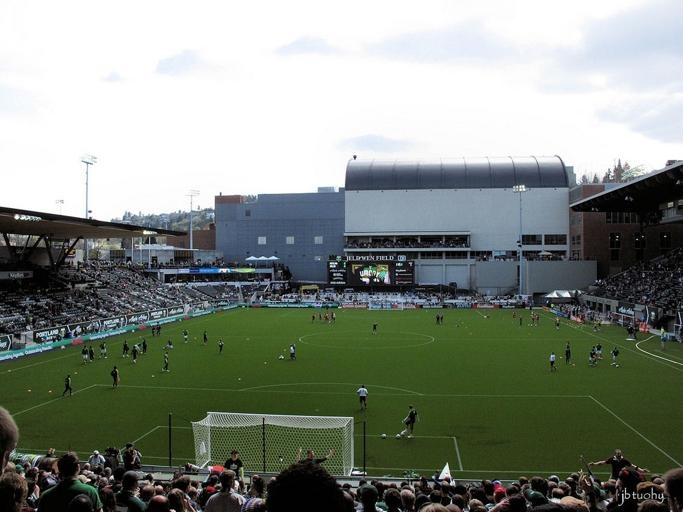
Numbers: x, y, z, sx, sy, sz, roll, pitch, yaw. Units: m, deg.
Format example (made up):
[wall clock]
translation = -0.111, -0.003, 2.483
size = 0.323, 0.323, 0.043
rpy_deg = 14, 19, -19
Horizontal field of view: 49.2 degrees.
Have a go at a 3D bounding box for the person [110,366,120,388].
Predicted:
[person]
translation = -17.317, 9.189, 57.472
size = 0.570, 1.603, 1.736
rpy_deg = 1, 0, -16

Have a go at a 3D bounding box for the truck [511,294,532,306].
[truck]
translation = 27.128, 6.526, 111.815
size = 2.006, 1.342, 1.889
rpy_deg = 1, 9, 9

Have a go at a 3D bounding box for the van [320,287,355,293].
[van]
translation = -0.415, 5.376, 121.860
size = 4.429, 1.184, 1.179
rpy_deg = 2, 2, 11
